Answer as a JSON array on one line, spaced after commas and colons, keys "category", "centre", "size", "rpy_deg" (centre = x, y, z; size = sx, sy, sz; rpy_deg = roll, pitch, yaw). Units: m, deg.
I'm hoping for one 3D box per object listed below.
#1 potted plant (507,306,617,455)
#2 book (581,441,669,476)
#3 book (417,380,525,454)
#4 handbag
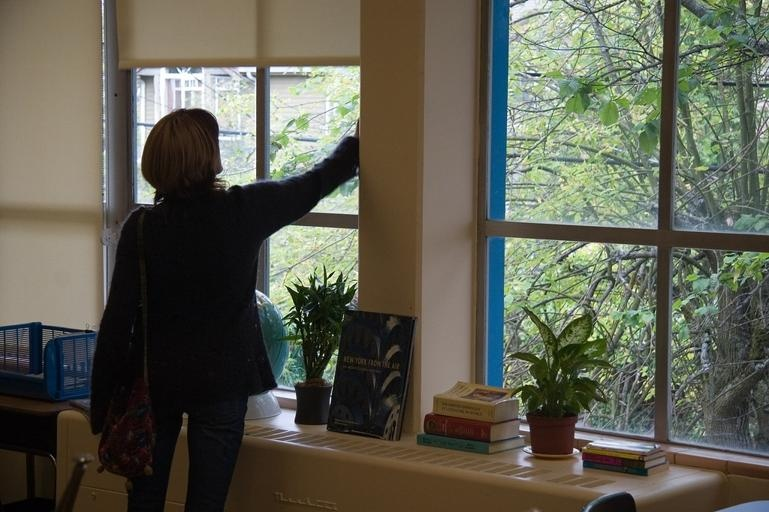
[{"category": "potted plant", "centre": [0.673, 0.574, 3.590], "size": [0.605, 0.743, 0.600], "rpy_deg": [1, -4, 5]}, {"category": "book", "centre": [1.024, 0.871, 3.225], "size": [0.192, 0.062, 0.183], "rpy_deg": [-1, 0, 36]}, {"category": "book", "centre": [0.406, 0.700, 3.456], "size": [0.338, 0.206, 0.338], "rpy_deg": [1, 2, 43]}, {"category": "handbag", "centre": [-1.109, 0.729, 3.190], "size": [0.222, 0.437, 0.130], "rpy_deg": [1, 0, -18]}]
